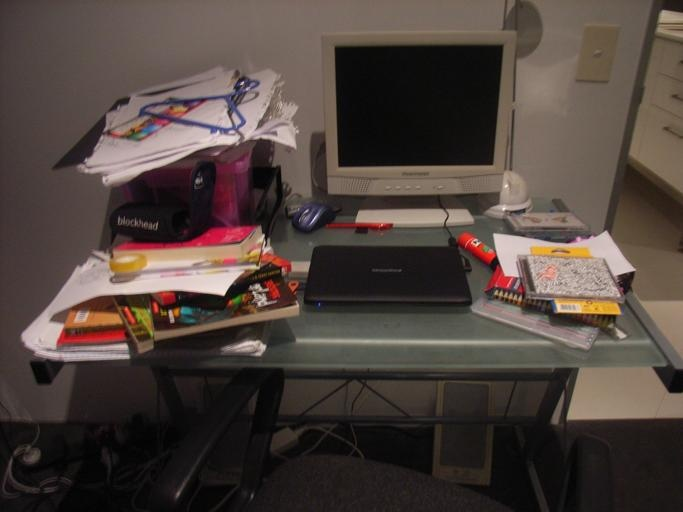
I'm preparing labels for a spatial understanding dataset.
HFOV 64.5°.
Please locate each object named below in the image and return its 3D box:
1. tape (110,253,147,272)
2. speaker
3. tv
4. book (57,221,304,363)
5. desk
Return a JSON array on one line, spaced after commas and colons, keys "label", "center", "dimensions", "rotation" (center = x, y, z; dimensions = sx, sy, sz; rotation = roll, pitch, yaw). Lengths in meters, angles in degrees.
[{"label": "tape", "center": [-0.504, 0.018, 1.280], "dimensions": [0.079, 0.031, 0.052], "rotation": [-5, 31, -8]}, {"label": "speaker", "center": [0.464, 0.636, 2.042], "dimensions": [0.244, 0.376, 0.085], "rotation": [4, -8, 4]}, {"label": "tv", "center": [0.230, -0.386, 1.590], "dimensions": [0.542, 0.563, 0.258], "rotation": [0, 33, 3]}, {"label": "book", "center": [-0.361, 0.070, 1.279], "dimensions": [0.346, 0.094, 0.353], "rotation": [-12, 41, -13]}, {"label": "desk", "center": [0.075, 0.294, 1.252], "dimensions": [0.952, 0.661, 0.545], "rotation": [2, 51, 0]}]
